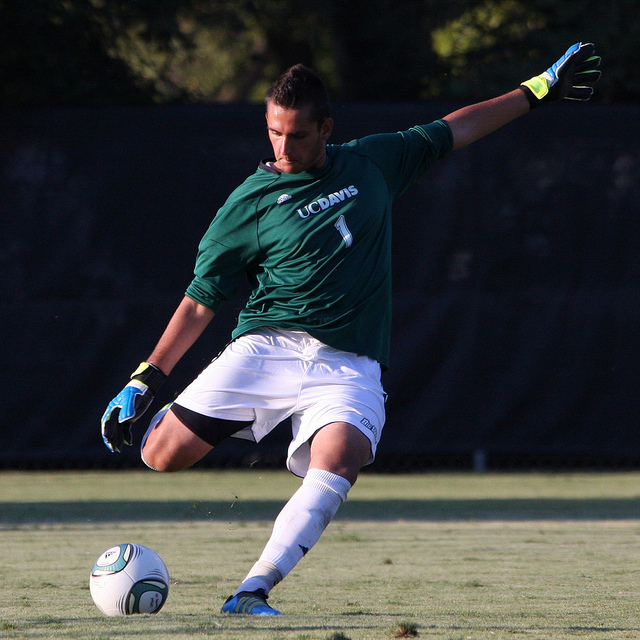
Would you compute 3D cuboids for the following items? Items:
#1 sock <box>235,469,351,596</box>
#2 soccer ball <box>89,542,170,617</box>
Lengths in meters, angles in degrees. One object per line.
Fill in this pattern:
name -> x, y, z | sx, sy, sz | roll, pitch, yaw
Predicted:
sock -> -0.097, 0.883, 6.144 | 0.201, 0.476, 0.462 | 19, 21, 25
soccer ball -> -0.797, 1.098, 6.289 | 0.374, 0.250, 0.276 | 4, -2, 1
